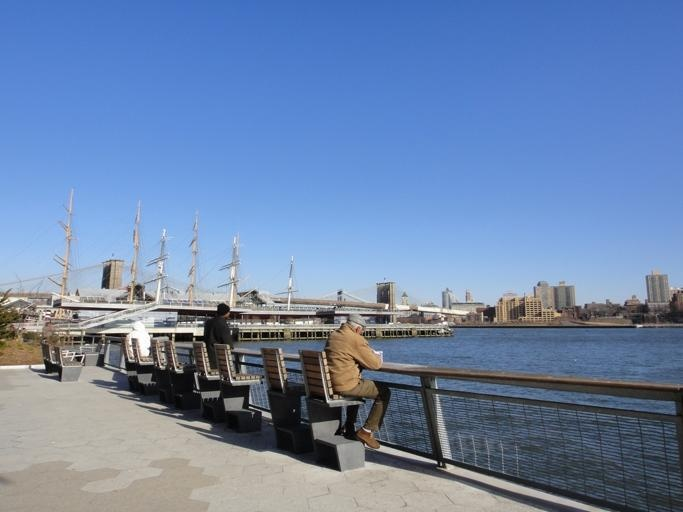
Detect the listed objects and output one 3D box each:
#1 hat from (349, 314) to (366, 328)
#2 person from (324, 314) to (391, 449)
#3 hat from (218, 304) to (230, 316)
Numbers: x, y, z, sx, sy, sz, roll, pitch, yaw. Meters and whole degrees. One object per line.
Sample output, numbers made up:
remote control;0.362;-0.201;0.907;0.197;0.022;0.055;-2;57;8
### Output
hat;0.236;0.829;5.893;0.220;0.105;0.172;10;-5;39
person;0.191;1.581;5.789;0.806;1.686;0.456;0;-5;3
hat;-2.060;0.947;8.218;0.303;0.179;0.261;0;2;-1
